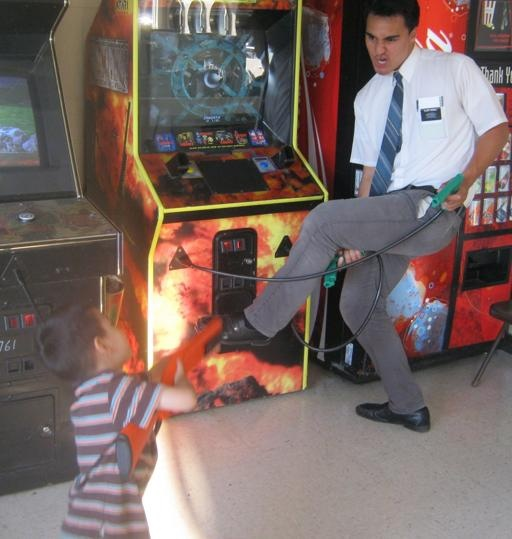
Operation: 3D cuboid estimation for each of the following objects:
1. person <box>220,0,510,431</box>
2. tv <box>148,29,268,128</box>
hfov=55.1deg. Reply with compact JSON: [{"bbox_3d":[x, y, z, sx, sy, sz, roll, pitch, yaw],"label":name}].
[{"bbox_3d":[0.473,-0.106,1.882,0.808,1.719,0.620,-10,16,-43],"label":"person"},{"bbox_3d":[-0.216,-0.791,2.032,0.379,0.312,0.026,-6,15,-29],"label":"tv"}]
